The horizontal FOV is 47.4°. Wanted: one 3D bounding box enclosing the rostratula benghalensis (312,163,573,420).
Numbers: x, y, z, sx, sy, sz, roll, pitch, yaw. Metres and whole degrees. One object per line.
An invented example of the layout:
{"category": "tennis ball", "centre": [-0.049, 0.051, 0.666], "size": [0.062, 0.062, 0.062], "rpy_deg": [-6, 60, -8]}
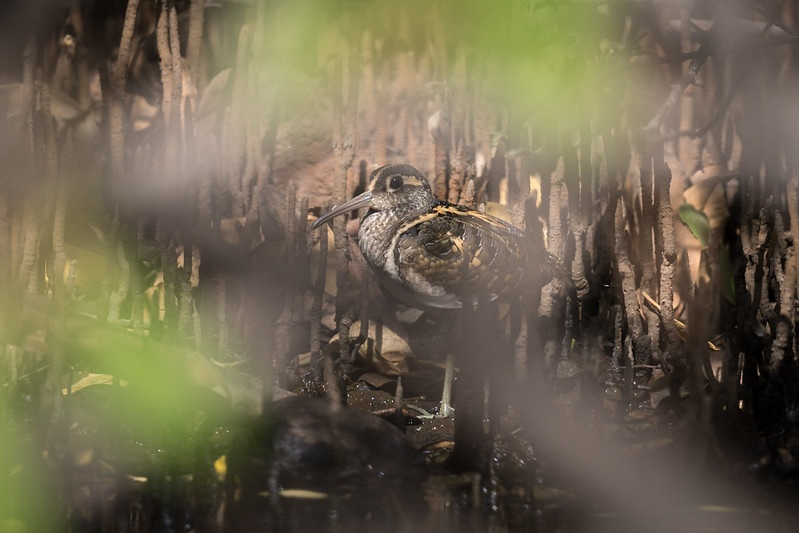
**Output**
{"category": "rostratula benghalensis", "centre": [0.163, 0.034, 2.594], "size": [0.747, 0.372, 0.574], "rpy_deg": [3, 99, 7]}
